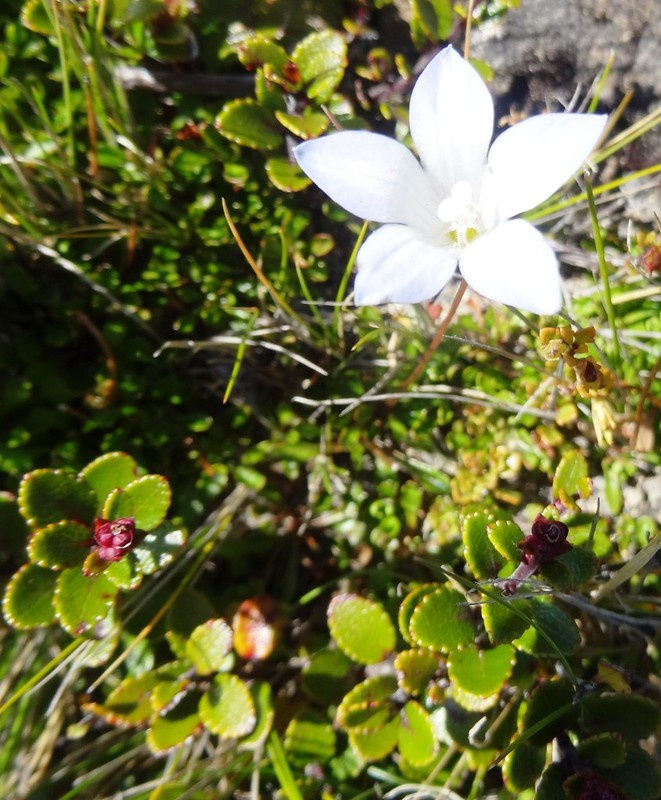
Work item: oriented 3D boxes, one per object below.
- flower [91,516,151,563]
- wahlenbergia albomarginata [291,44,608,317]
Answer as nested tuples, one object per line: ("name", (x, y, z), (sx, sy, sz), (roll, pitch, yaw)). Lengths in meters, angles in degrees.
("flower", (-0.362, 0.243, 1.288), (0.090, 0.068, 0.045), (-11, 3, 3))
("wahlenbergia albomarginata", (0.221, -0.311, 1.208), (0.492, 0.405, 0.173), (-13, -13, 8))
